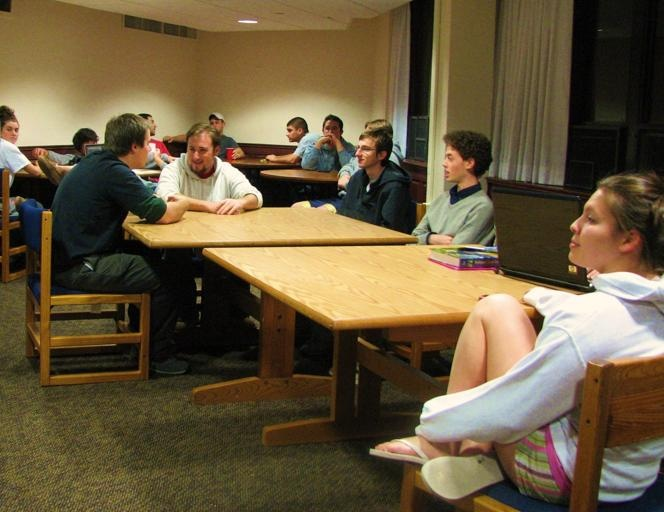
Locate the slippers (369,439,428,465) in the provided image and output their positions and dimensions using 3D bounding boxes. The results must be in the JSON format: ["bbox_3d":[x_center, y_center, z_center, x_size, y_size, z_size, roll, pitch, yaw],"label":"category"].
[{"bbox_3d":[0.166,0.520,1.453,0.068,0.034,0.162,2,-1,-36],"label":"slippers"}]

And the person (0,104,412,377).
[{"bbox_3d":[-0.717,-0.152,3.002,1.705,1.650,0.854,-3,14,-30],"label":"person"}]

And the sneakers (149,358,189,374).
[{"bbox_3d":[-0.866,0.590,2.945,0.160,0.040,0.086,0,8,-5],"label":"sneakers"}]
